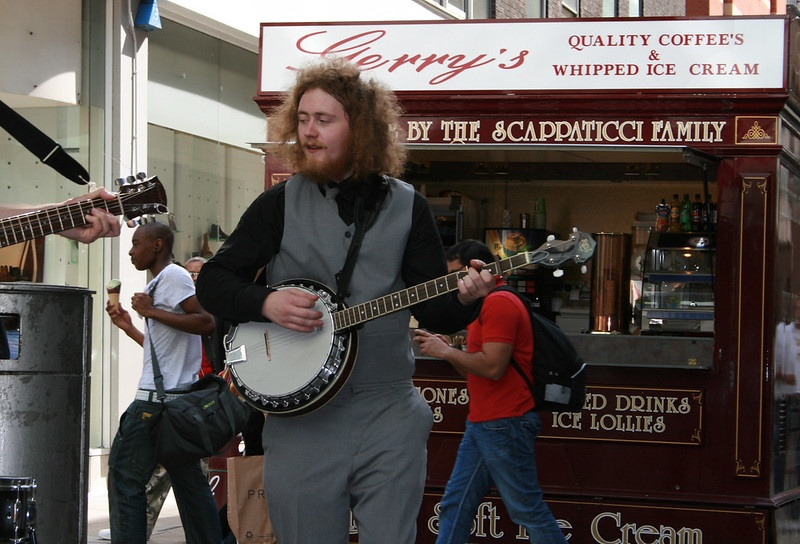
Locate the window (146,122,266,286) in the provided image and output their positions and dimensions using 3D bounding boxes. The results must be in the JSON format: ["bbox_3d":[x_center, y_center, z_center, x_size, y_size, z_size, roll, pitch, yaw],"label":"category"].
[{"bbox_3d":[-2.340,-0.824,12.472,0.108,1.495,1.482,-15,-17,38],"label":"window"}]

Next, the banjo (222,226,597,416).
[{"bbox_3d":[0.009,0.209,5.680,2.052,0.818,0.278,-18,-39,5],"label":"banjo"}]

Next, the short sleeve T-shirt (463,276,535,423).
[{"bbox_3d":[0.683,0.517,7.782,0.704,1.316,1.116,-1,-5,7],"label":"short sleeve T-shirt"}]

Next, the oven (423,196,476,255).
[{"bbox_3d":[0.431,-0.471,10.018,0.461,0.525,0.468,-3,10,-14],"label":"oven"}]

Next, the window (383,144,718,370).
[{"bbox_3d":[1.689,-0.359,10.048,3.385,2.344,1.829,-2,-8,26],"label":"window"}]

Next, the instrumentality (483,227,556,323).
[{"bbox_3d":[1.147,-0.030,10.463,0.586,1.031,0.102,1,38,8],"label":"instrumentality"}]

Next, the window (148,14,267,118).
[{"bbox_3d":[-2.292,-2.411,12.106,0.227,0.414,1.793,-16,-16,27],"label":"window"}]

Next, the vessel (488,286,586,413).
[{"bbox_3d":[0.908,0.632,7.749,0.845,0.990,0.636,-2,-3,-2],"label":"vessel"}]

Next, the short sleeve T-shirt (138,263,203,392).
[{"bbox_3d":[-1.734,0.428,7.836,0.482,0.923,0.746,11,-20,-35],"label":"short sleeve T-shirt"}]

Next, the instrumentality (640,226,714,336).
[{"bbox_3d":[2.421,-0.071,8.869,0.622,1.049,0.610,1,32,12],"label":"instrumentality"}]
